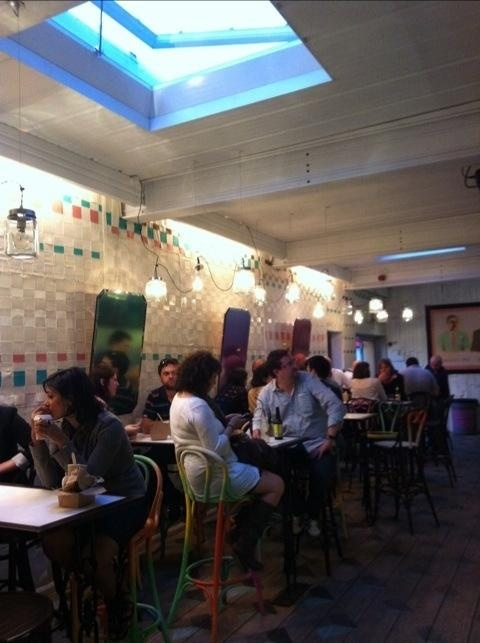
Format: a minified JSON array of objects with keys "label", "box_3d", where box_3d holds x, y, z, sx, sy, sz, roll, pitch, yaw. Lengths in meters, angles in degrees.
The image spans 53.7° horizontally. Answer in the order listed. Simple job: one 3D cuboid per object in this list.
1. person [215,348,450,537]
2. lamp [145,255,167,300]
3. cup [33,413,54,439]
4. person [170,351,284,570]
[{"label":"person","box_3d":[0.557,0.857,3.673,0.919,1.554,0.990,2,-17,-38]},{"label":"lamp","box_3d":[-0.883,-0.475,4.946,0.213,0.536,0.797,0,-8,-11]},{"label":"cup","box_3d":[-0.783,0.424,1.935,0.100,0.112,0.100,-1,-10,0]},{"label":"person","box_3d":[-0.061,0.763,2.664,0.579,1.181,0.430,-9,-5,-25]}]
